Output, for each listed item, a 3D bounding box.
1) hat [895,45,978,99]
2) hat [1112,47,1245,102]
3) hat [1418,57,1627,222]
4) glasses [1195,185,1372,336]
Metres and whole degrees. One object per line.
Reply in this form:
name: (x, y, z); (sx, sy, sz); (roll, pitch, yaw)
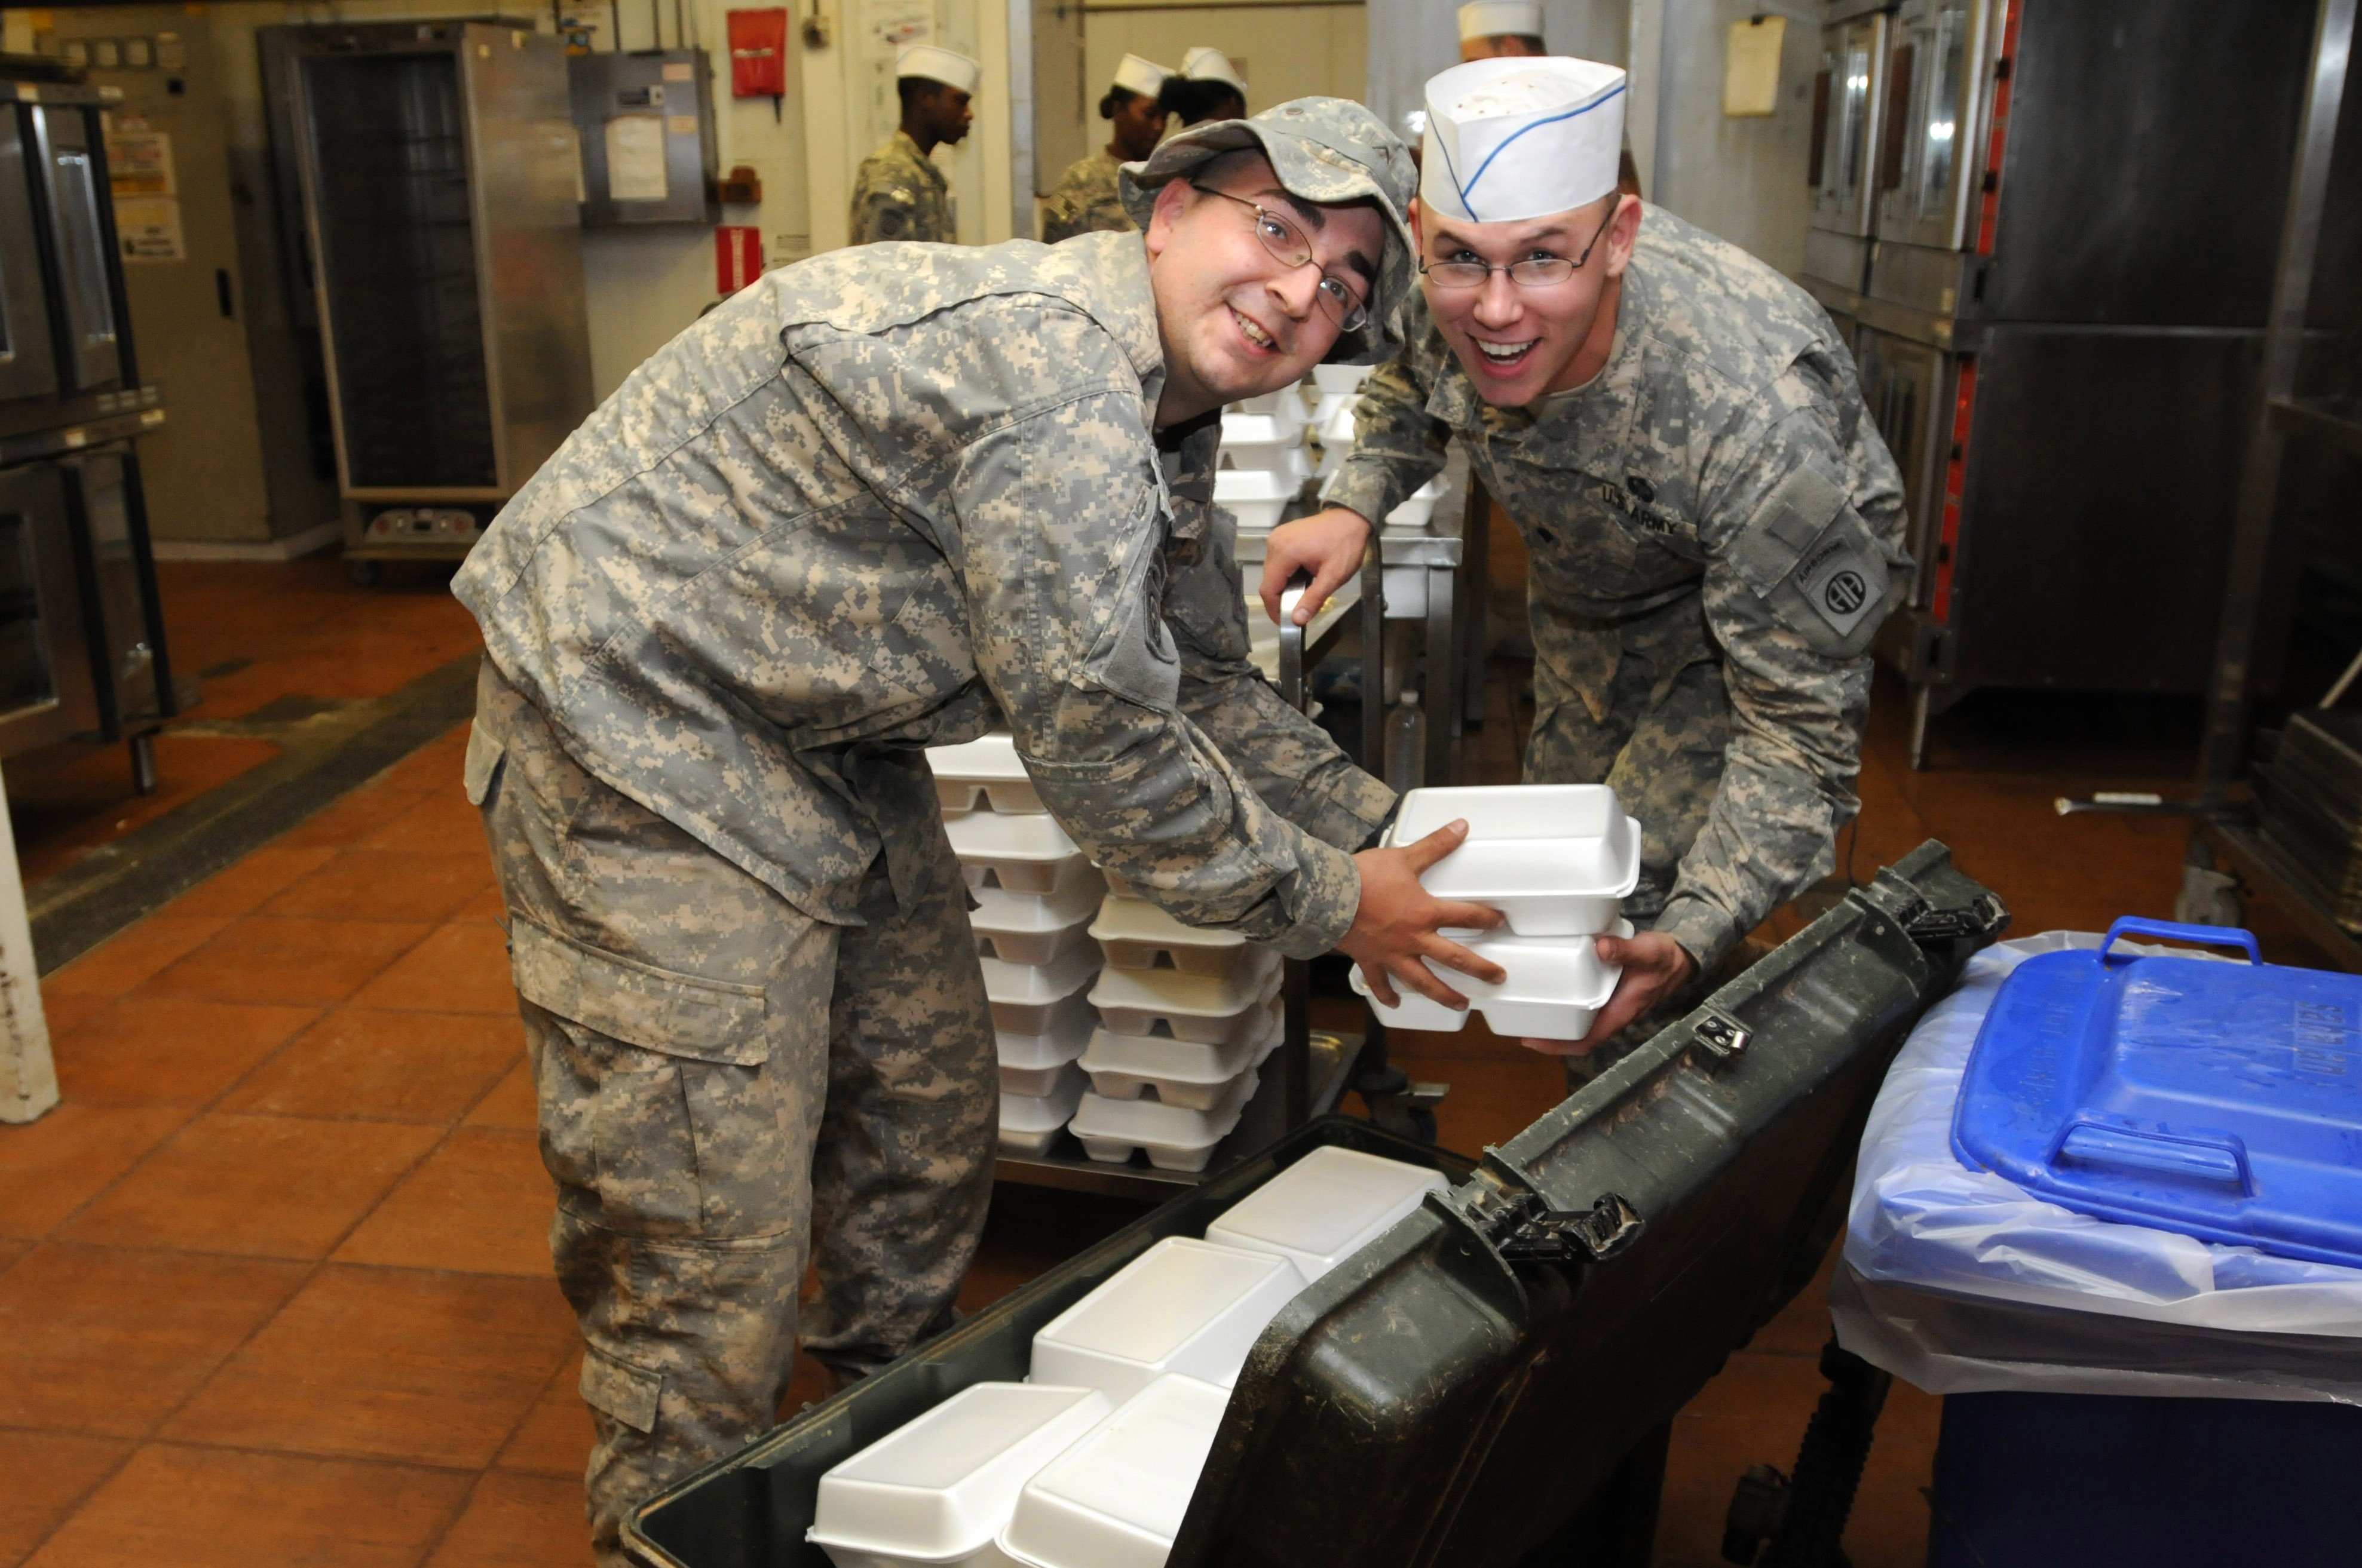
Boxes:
hat: (-0.968, -2.856, 6.836); (0.261, 0.175, 0.319); (7, 7, 8)
hat: (-0.019, -2.919, 7.049); (0.492, 0.200, 0.480); (-14, 21, -15)
hat: (0.487, -0.910, 2.457); (0.285, 0.152, 0.227); (-24, 34, -26)
glasses: (0.112, -0.704, 2.239); (0.190, 0.059, 0.192); (37, 10, -44)
